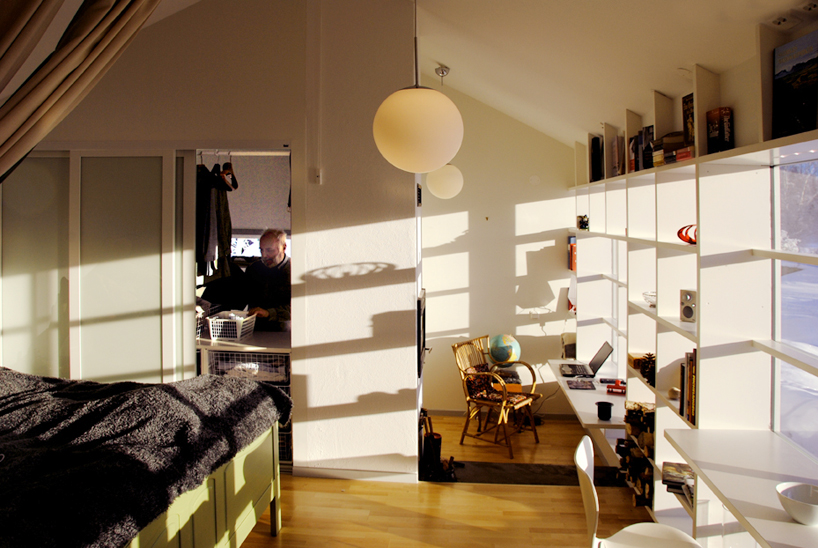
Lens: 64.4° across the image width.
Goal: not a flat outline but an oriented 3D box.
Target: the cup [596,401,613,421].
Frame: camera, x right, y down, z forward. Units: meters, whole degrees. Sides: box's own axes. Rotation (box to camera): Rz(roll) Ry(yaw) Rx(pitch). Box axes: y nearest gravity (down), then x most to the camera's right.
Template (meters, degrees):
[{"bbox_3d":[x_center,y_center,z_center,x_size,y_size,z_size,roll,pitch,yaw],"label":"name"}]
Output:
[{"bbox_3d":[1.612,1.117,5.370,0.129,0.121,0.139,2,-1,0],"label":"cup"}]

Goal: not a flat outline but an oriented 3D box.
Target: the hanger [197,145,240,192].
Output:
[{"bbox_3d":[-1.845,-1.015,6.208,0.167,0.363,0.405,-15,22,-40],"label":"hanger"}]

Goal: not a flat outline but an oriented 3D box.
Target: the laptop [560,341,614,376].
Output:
[{"bbox_3d":[1.735,0.858,6.404,0.366,0.243,0.393,0,4,-1],"label":"laptop"}]

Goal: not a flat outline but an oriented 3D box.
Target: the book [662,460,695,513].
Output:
[{"bbox_3d":[1.908,1.468,4.570,0.084,0.297,0.325,-3,-2,11],"label":"book"}]

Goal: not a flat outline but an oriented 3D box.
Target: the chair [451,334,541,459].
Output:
[{"bbox_3d":[0.931,1.194,6.978,0.990,1.480,0.967,-2,1,38],"label":"chair"}]
